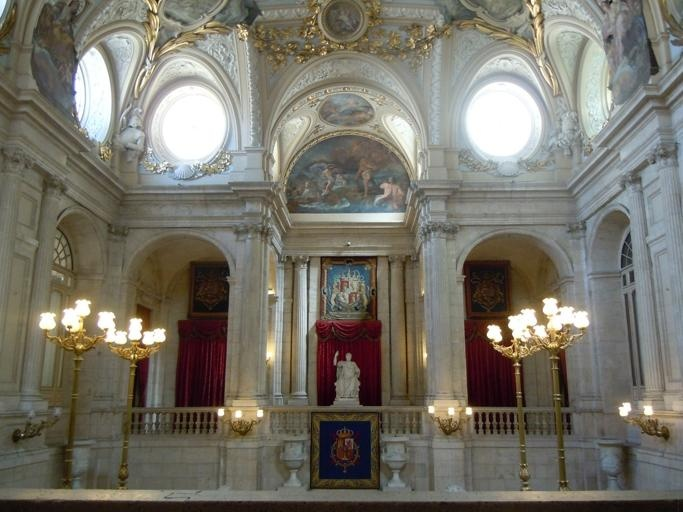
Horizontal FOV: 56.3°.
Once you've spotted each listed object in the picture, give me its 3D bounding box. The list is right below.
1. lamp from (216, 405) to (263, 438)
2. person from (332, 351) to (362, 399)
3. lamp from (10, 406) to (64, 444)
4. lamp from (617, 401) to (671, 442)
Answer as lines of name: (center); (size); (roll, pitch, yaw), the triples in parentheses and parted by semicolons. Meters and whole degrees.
lamp: (-2.816, 4.619, 17.821); (1.260, 0.802, 0.680); (3, -19, -9)
person: (0.185, 3.888, 20.250); (0.794, 1.725, 0.872); (0, -19, -1)
lamp: (-6.851, 3.984, 14.434); (0.833, 0.914, 1.196); (-5, -11, 9)
lamp: (7.093, 3.835, 14.656); (1.450, 0.704, 0.523); (24, -24, -18)
